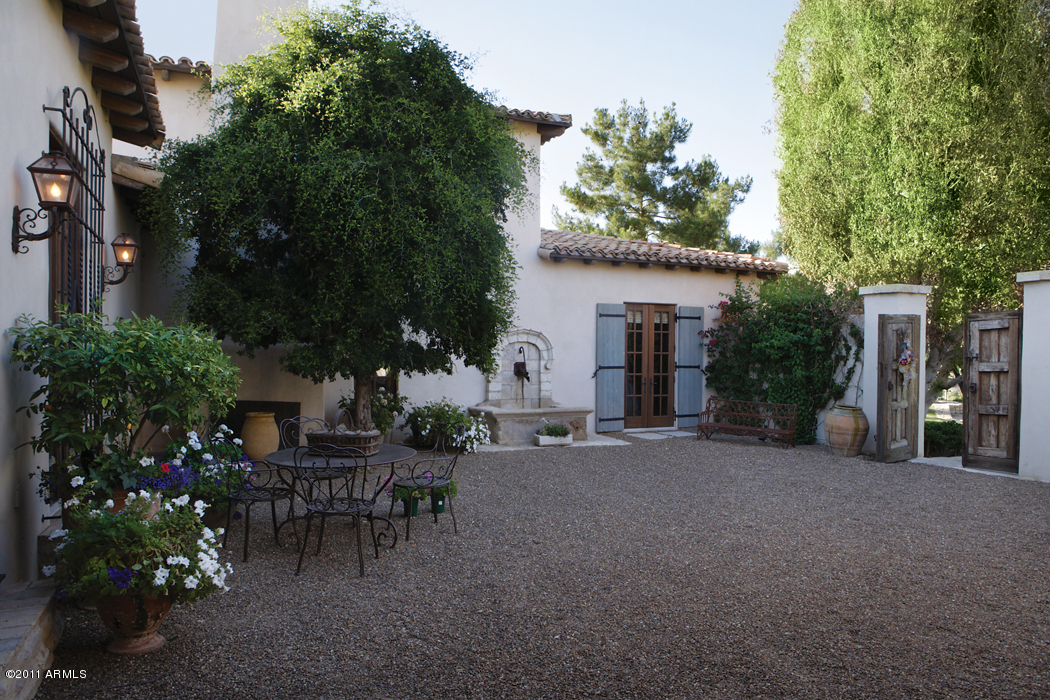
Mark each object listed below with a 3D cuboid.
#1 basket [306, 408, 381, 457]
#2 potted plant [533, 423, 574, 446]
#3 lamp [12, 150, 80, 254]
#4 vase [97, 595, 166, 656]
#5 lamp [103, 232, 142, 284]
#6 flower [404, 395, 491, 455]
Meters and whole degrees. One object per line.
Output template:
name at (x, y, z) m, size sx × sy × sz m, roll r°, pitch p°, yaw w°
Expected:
basket at (-1.958, 0.913, 8.265) m, size 0.602 × 0.242 × 0.546 m, roll 0°, pitch -1°, yaw 12°
potted plant at (0.488, 1.413, 13.031) m, size 0.602 × 0.344 × 0.418 m, roll 0°, pitch 11°, yaw -4°
lamp at (-4.109, -1.288, 6.679) m, size 0.518 × 0.872 × 0.681 m, roll -4°, pitch 12°, yaw -25°
vase at (-3.053, 2.098, 6.187) m, size 0.486 × 0.439 × 0.502 m, roll 1°, pitch -9°, yaw 6°
lamp at (-4.830, -1.068, 9.262) m, size 0.342 × 0.647 × 1.300 m, roll -5°, pitch 12°, yaw -26°
flower at (-1.213, 1.208, 12.485) m, size 0.835 × 0.576 × 0.925 m, roll 4°, pitch -1°, yaw 8°
